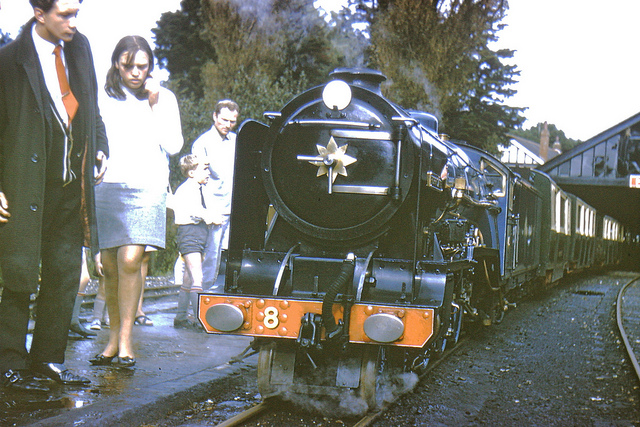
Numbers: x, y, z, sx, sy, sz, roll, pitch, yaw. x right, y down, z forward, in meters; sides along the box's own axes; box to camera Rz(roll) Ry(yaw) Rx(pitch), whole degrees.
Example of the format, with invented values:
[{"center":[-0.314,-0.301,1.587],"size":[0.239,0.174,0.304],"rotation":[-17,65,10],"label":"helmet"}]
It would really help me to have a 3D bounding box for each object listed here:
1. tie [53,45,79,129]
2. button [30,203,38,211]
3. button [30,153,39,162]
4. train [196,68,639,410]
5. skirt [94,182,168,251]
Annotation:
[{"center":[-2.165,-1.100,4.617],"size":[0.060,0.573,0.197],"rotation":[1,15,42],"label":"tie"},{"center":[-2.296,-0.053,4.358],"size":[0.056,0.059,0.014],"rotation":[3,-4,-16],"label":"button"},{"center":[-2.297,-0.449,4.377],"size":[0.060,0.056,0.015],"rotation":[5,1,-30],"label":"button"},{"center":[2.431,0.363,10.276],"size":[2.173,2.657,12.281],"rotation":[0,-1,16],"label":"train"},{"center":[-1.945,0.017,5.461],"size":[0.775,0.640,0.451],"rotation":[-4,-3,36],"label":"skirt"}]
